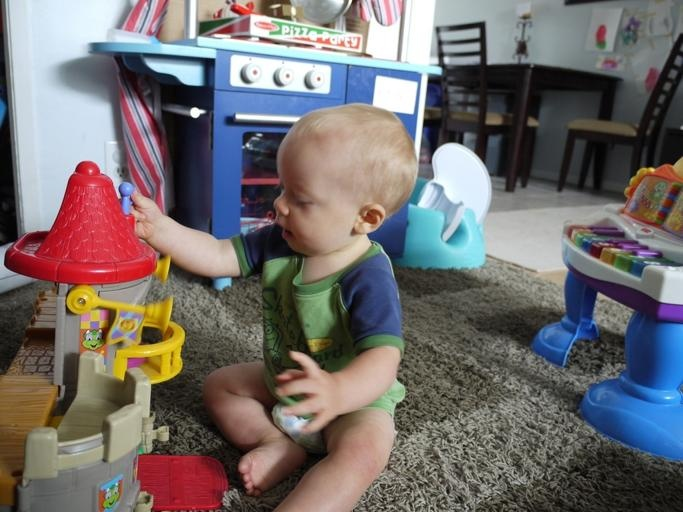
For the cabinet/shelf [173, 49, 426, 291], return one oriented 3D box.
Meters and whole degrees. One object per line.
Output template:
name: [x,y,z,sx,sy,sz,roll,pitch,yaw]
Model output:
cabinet/shelf: [-0.193,-0.484,1.913,0.802,0.788,0.590,4,37,-12]
